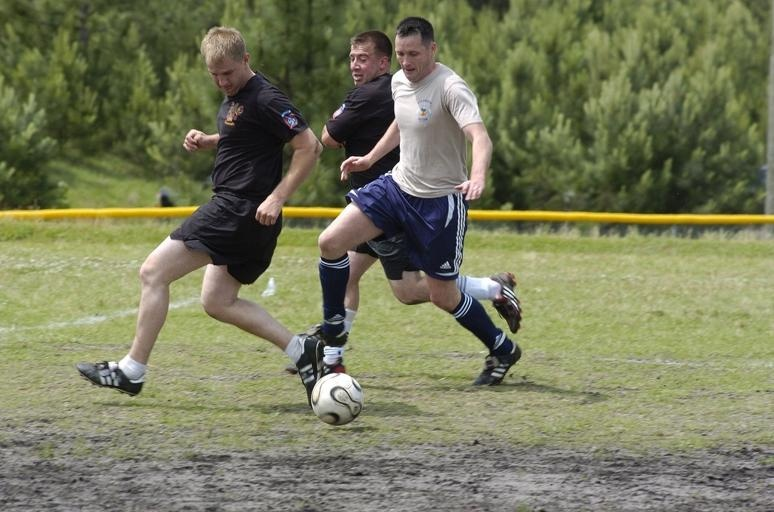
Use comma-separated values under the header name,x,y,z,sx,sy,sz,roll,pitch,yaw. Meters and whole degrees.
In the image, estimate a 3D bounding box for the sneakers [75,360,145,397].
name,x,y,z,sx,sy,sz,roll,pitch,yaw
sneakers,-2.209,0.966,8.532,0.604,0.225,0.215,16,17,-18

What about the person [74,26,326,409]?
name,x,y,z,sx,sy,sz,roll,pitch,yaw
person,-1.304,-0.361,8.486,1.625,2.919,0.540,1,12,-4

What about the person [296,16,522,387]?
name,x,y,z,sx,sy,sz,roll,pitch,yaw
person,0.280,-0.428,8.786,1.640,3.099,0.990,3,12,3
